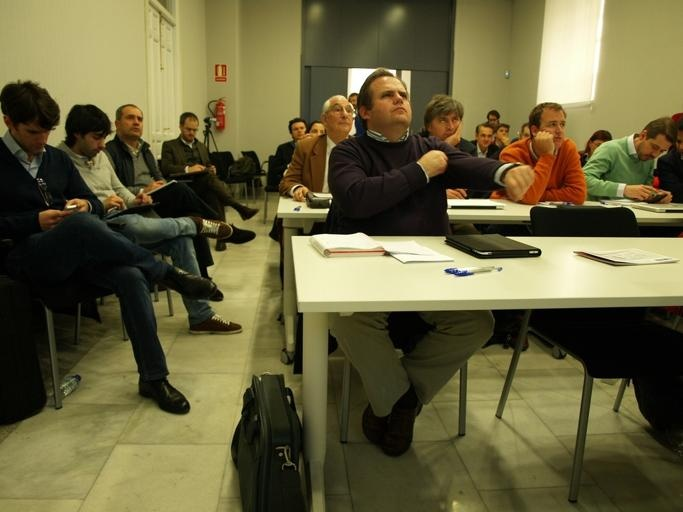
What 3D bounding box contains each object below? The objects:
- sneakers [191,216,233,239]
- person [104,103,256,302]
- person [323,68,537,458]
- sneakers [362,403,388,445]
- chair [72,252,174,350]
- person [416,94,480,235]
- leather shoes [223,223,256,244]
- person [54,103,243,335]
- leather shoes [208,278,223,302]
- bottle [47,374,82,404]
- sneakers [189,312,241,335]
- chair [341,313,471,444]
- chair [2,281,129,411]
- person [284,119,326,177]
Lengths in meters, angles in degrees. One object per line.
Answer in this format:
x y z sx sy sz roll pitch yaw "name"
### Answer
-0.875 -0.161 3.829 0.295 0.111 0.122 8 20 7 "sneakers"
-1.234 -0.641 5.087 0.893 1.222 0.504 10 1 22 "person"
0.393 0.040 2.700 0.998 1.814 0.859 5 10 25 "person"
0.150 0.779 2.538 0.083 0.211 0.083 2 -14 -16 "sneakers"
-1.429 0.104 3.782 0.415 0.731 0.487 -15 20 -23 "chair"
0.707 -0.625 3.927 0.401 0.955 0.534 4 -9 -2 "person"
-0.822 -0.167 4.591 0.330 0.150 0.129 -2 15 -7 "leather shoes"
-1.126 -0.300 3.718 1.129 1.528 0.623 6 8 27 "person"
-0.790 0.229 3.521 0.087 0.100 0.184 -29 18 -18 "leather shoes"
-1.398 0.680 2.838 0.051 0.042 0.160 17 15 -3 "bottle"
-0.795 0.454 3.597 0.333 0.143 0.127 -1 6 -9 "sneakers"
0.286 0.545 2.686 0.513 0.532 0.423 1 1 -3 "chair"
-1.432 0.511 2.987 0.496 0.527 0.667 1 2 -29 "chair"
-0.370 -1.247 6.571 0.608 0.334 0.865 -4 7 -6 "person"
